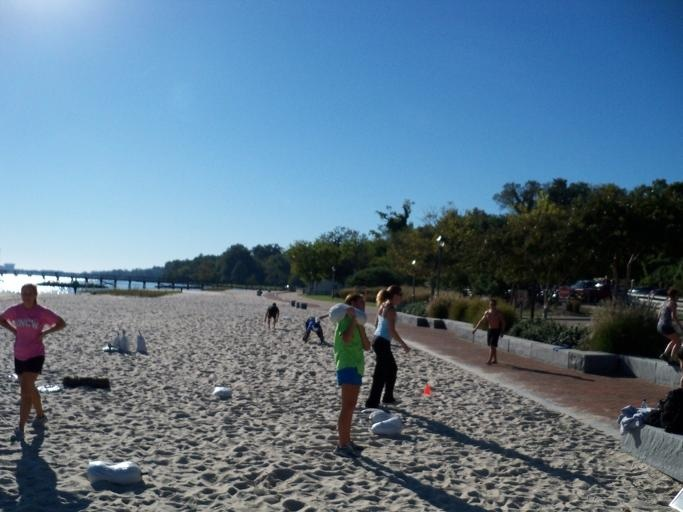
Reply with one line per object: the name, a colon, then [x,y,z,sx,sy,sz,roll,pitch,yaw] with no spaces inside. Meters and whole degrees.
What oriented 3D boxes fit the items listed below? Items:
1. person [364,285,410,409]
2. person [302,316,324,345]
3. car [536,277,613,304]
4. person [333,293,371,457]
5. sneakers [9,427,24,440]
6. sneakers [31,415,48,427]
person: [0.707,1.483,9.634,0.627,2.034,1.492,1,-3,5]
person: [-0.902,2.376,18.826,0.791,0.341,0.911,3,-34,3]
car: [12.675,1.913,32.379,2.603,1.037,1.469,-5,1,19]
person: [0.126,1.550,7.845,0.444,2.139,0.742,1,-2,1]
sneakers: [-4.330,2.392,7.931,0.152,0.172,0.132,-28,-18,18]
sneakers: [-4.240,2.333,8.372,0.119,0.171,0.164,23,1,-13]
